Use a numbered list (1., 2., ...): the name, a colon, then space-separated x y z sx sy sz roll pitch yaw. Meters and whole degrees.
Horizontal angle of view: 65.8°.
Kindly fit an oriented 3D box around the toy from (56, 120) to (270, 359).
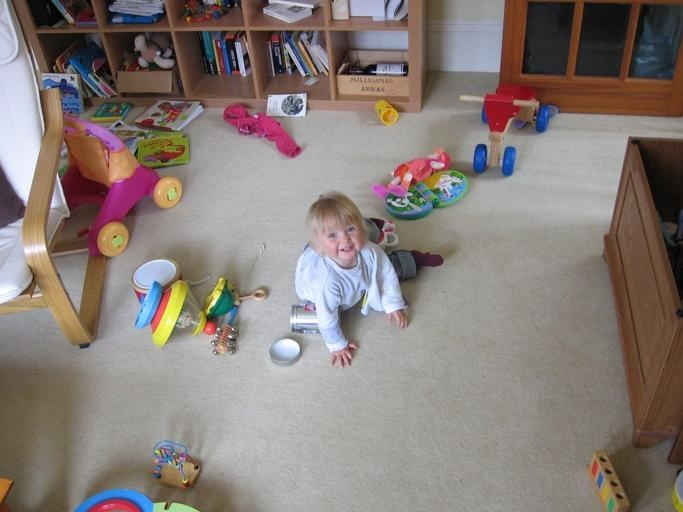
1. toy: -0.853 -0.062 2.391 0.692 0.461 1.293 -30 58 -18

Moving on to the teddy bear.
1. teddy bear: 0.352 -0.394 2.626 0.321 0.098 0.250 -37 35 -17

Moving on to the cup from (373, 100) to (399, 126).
1. cup: 0.268 -0.846 3.076 0.140 0.097 0.167 -1 39 2

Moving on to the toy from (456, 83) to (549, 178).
1. toy: 0.870 -0.749 2.789 0.354 0.407 0.678 9 45 21

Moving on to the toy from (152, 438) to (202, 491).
1. toy: -0.539 0.663 1.693 0.152 0.138 0.124 5 20 19
